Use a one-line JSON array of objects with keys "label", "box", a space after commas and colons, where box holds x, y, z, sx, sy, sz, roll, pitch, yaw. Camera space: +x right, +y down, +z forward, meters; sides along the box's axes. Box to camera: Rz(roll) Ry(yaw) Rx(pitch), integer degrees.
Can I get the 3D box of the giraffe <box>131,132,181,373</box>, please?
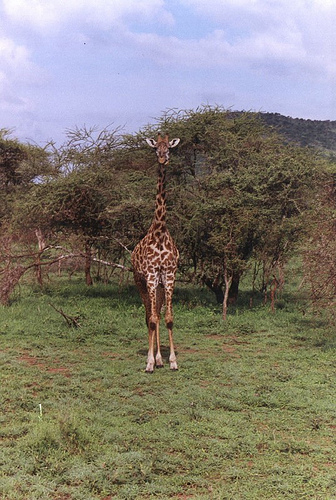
[{"label": "giraffe", "box": [-0.204, -0.112, 10.573, 0.904, 4.410, 2.295, 2, 3, -2]}]
